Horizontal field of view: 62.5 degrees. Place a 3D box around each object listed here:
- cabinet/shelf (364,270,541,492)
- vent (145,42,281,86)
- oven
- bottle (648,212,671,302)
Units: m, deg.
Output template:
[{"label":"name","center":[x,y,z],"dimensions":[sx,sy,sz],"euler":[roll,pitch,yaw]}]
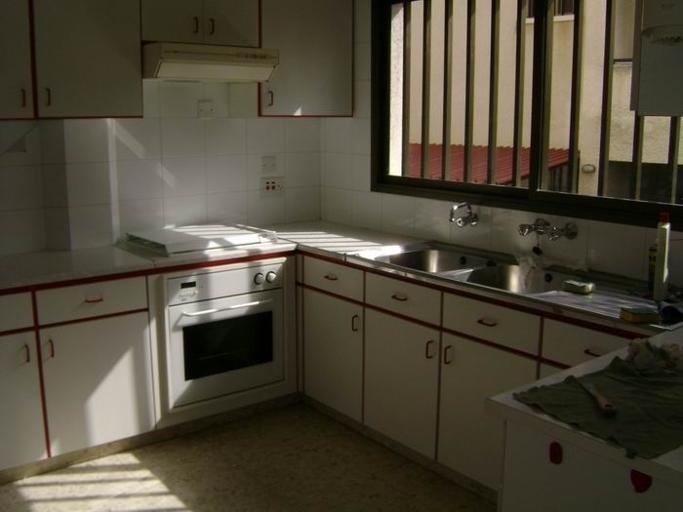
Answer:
[{"label":"cabinet/shelf","center":[0.536,0.572,2.658],"dimensions":[0.352,0.813,0.922],"euler":[-7,14,-40]},{"label":"vent","center":[-0.750,-1.124,3.300],"dimensions":[0.784,0.198,0.336],"euler":[-10,17,-33]},{"label":"oven","center":[-0.779,0.403,3.569],"dimensions":[0.807,0.849,0.555],"euler":[-6,14,-28]},{"label":"bottle","center":[1.412,-0.014,2.468],"dimensions":[0.073,0.371,0.281],"euler":[8,16,30]}]
